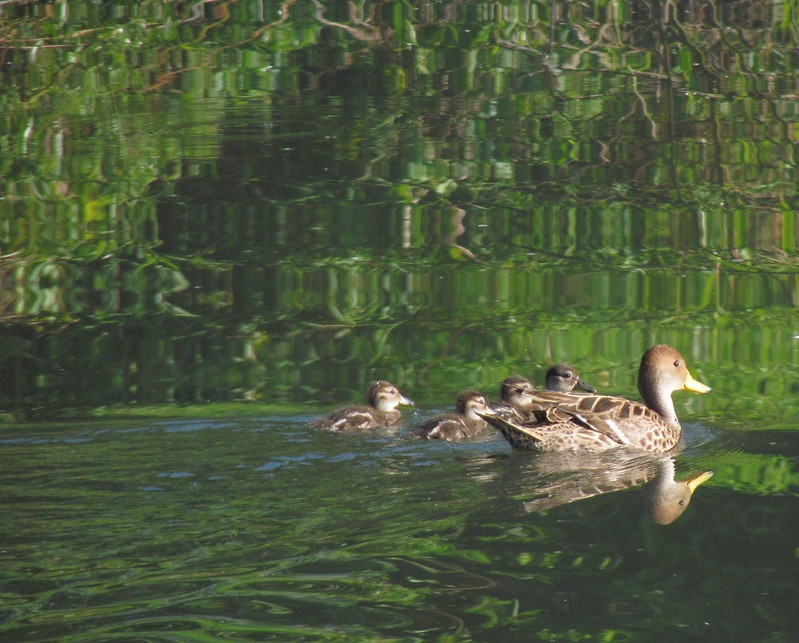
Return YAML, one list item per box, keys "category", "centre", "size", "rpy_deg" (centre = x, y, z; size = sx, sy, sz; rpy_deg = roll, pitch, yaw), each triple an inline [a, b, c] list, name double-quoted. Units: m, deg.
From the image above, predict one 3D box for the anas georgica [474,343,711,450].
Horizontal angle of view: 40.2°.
- category: "anas georgica"
  centre: [1.463, 0.616, 8.313]
  size: [2.365, 0.738, 0.714]
  rpy_deg: [1, 10, -39]
